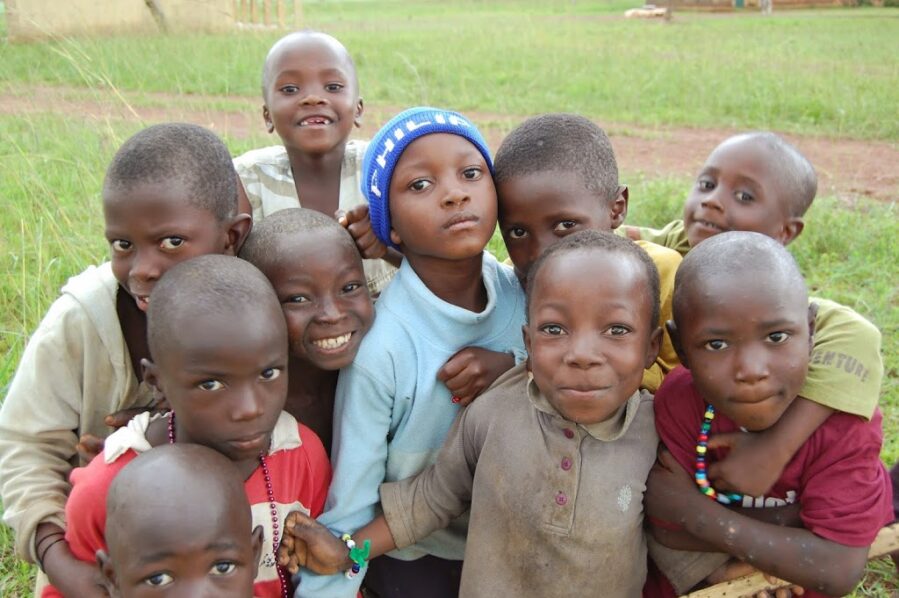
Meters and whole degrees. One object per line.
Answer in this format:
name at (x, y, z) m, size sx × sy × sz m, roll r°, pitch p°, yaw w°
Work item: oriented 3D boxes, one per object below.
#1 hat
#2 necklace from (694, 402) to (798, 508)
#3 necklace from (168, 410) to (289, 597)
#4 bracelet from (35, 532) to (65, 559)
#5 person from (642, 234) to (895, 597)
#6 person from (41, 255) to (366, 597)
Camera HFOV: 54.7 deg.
hat at (-0.141, -0.605, 4.537) m, size 0.613 × 0.565 × 0.722 m, roll -14°, pitch -4°, yaw -22°
necklace at (1.358, 0.715, 3.955) m, size 0.351 × 0.477 × 0.138 m, roll -9°, pitch -5°, yaw 20°
necklace at (-0.914, 0.940, 3.915) m, size 0.518 × 0.874 × 0.187 m, roll -4°, pitch -3°, yaw -6°
bracelet at (-1.900, 1.170, 4.166) m, size 0.140 × 0.135 × 0.100 m, roll -15°, pitch 58°, yaw -25°
person at (1.474, 0.617, 4.012) m, size 1.049 × 1.723 × 0.675 m, roll 4°, pitch 26°, yaw 16°
person at (-1.101, 0.606, 3.994) m, size 1.629 × 1.719 × 1.001 m, roll -3°, pitch 8°, yaw -28°
